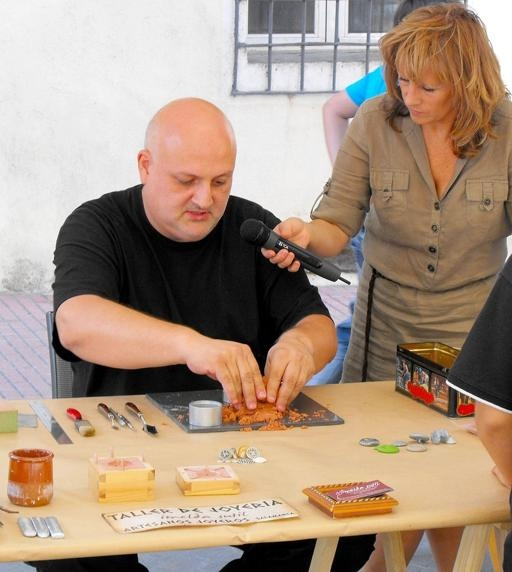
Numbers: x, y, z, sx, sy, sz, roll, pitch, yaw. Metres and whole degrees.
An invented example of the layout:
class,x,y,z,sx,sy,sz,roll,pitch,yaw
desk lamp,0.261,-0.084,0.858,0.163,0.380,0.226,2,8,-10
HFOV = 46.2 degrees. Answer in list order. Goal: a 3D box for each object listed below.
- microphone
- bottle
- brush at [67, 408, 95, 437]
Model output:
class,x,y,z,sx,sy,sz,roll,pitch,yaw
microphone,0.132,-0.085,1.914,0.413,0.086,0.088,27,-13,-12
bottle,-0.383,0.325,1.027,0.081,0.089,0.062,-1,2,-39
brush,-0.434,0.334,1.504,0.036,0.024,0.166,-7,7,-16
